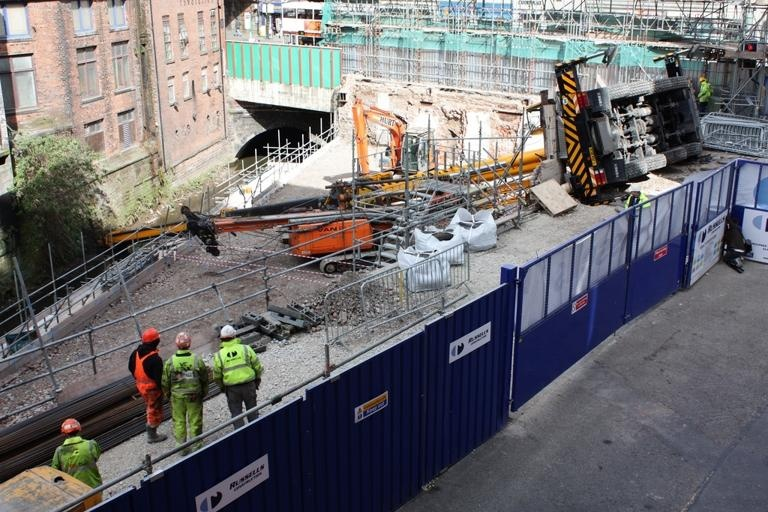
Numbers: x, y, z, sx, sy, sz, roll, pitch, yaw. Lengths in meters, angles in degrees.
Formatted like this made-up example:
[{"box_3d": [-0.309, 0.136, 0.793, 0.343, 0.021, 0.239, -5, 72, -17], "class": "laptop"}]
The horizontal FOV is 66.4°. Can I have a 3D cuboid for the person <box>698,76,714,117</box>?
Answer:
[{"box_3d": [14.900, -7.471, 27.274, 0.630, 1.516, 1.473, 7, 21, 26], "class": "person"}]

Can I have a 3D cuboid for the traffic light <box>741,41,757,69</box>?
[{"box_3d": [15.773, -8.679, 25.388, 0.547, 1.139, 1.540, 8, 22, 30], "class": "traffic light"}]

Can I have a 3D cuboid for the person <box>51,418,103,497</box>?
[{"box_3d": [-4.301, 2.821, 8.235, 0.571, 0.967, 0.522, -3, 18, -2], "class": "person"}]

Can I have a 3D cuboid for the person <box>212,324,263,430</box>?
[{"box_3d": [-2.341, 2.041, 9.569, 0.780, 1.930, 0.527, -6, 20, -10], "class": "person"}]

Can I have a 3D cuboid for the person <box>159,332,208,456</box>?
[{"box_3d": [-3.142, 2.185, 9.455, 0.707, 1.929, 0.593, -2, 9, -14], "class": "person"}]
